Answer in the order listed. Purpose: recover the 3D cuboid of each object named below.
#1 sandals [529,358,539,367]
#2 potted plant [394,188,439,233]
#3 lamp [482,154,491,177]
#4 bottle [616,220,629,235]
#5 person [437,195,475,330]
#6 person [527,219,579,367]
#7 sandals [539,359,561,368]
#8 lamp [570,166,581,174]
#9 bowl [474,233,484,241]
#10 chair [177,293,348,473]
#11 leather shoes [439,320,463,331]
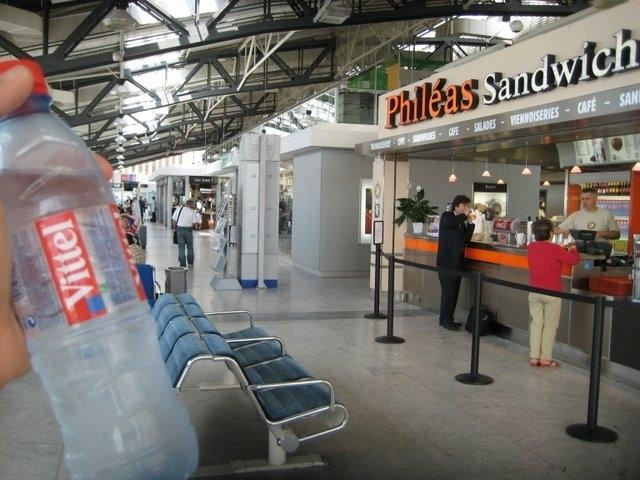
[{"bbox_3d":[2.731,1.549,6.004,0.103,0.100,0.081,0,4,-4],"label":"sandals"},{"bbox_3d":[1.942,-0.532,9.711,0.937,0.844,0.953,2,-3,1],"label":"potted plant"},{"bbox_3d":[4.048,-1.747,11.381,0.220,0.388,0.507,3,4,21],"label":"lamp"},{"bbox_3d":[6.091,-0.264,9.467,0.161,0.305,0.304,-2,5,0],"label":"bottle"},{"bbox_3d":[2.344,0.316,8.179,0.594,2.210,1.183,3,3,15],"label":"person"},{"bbox_3d":[2.910,0.653,6.015,0.605,1.866,0.535,0,4,-31],"label":"person"},{"bbox_3d":[2.953,1.551,6.007,0.283,0.122,0.102,-4,5,-13],"label":"sandals"},{"bbox_3d":[5.737,-1.578,10.548,0.166,0.106,0.162,1,1,-42],"label":"lamp"},{"bbox_3d":[2.903,-0.076,8.526,0.315,0.133,0.110,-1,5,-41],"label":"bowl"},{"bbox_3d":[-0.454,1.180,3.803,0.914,0.915,1.714,1,4,-14],"label":"chair"},{"bbox_3d":[2.177,1.404,7.803,0.371,0.162,0.132,-3,-2,20],"label":"leather shoes"}]
